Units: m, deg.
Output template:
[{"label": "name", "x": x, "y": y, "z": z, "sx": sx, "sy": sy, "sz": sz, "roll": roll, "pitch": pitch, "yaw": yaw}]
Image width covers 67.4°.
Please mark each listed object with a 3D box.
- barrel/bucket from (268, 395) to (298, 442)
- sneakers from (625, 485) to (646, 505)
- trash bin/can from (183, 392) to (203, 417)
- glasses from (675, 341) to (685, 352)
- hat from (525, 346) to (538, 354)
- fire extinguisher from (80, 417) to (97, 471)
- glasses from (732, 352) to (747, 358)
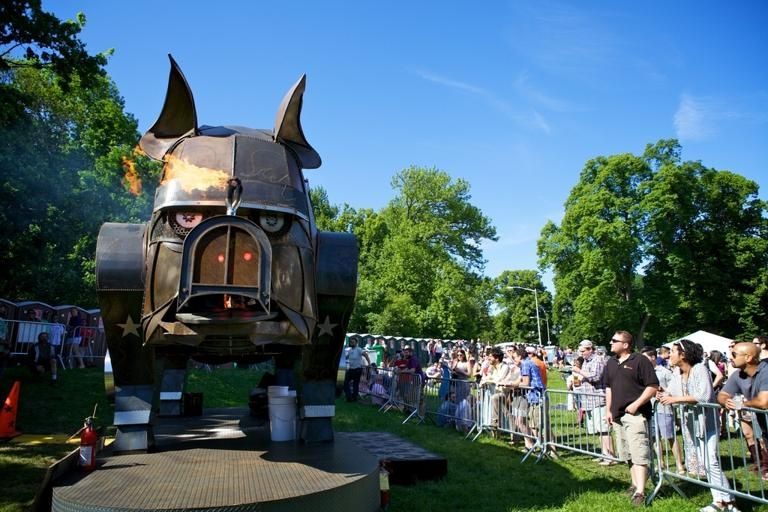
[{"label": "barrel/bucket", "x": -2.046, "y": 3.218, "z": 11.635, "sx": 0.589, "sy": 0.875, "sz": 0.337, "roll": 3, "pitch": -1, "yaw": -11}, {"label": "sneakers", "x": 5.063, "y": 4.782, "z": 11.515, "sx": 0.166, "sy": 0.192, "sz": 0.459, "roll": -28, "pitch": -47, "yaw": 23}, {"label": "trash bin/can", "x": -4.848, "y": 3.739, "z": 14.706, "sx": 0.528, "sy": 0.679, "sz": 0.515, "roll": 0, "pitch": -11, "yaw": -4}, {"label": "glasses", "x": 6.526, "y": 1.959, "z": 12.655, "sx": 0.178, "sy": 0.198, "sz": 0.193, "roll": 25, "pitch": -4, "yaw": -10}, {"label": "hat", "x": 4.320, "y": 2.742, "z": 17.067, "sx": 0.351, "sy": 0.105, "sz": 0.322, "roll": 0, "pitch": -2, "yaw": -26}, {"label": "fire extinguisher", "x": -5.076, "y": 3.174, "z": 9.870, "sx": 0.263, "sy": 0.952, "sz": 0.361, "roll": 4, "pitch": -1, "yaw": -28}, {"label": "glasses", "x": 7.151, "y": 1.965, "z": 11.563, "sx": 0.239, "sy": 0.074, "sz": 0.227, "roll": 9, "pitch": -10, "yaw": 18}]
